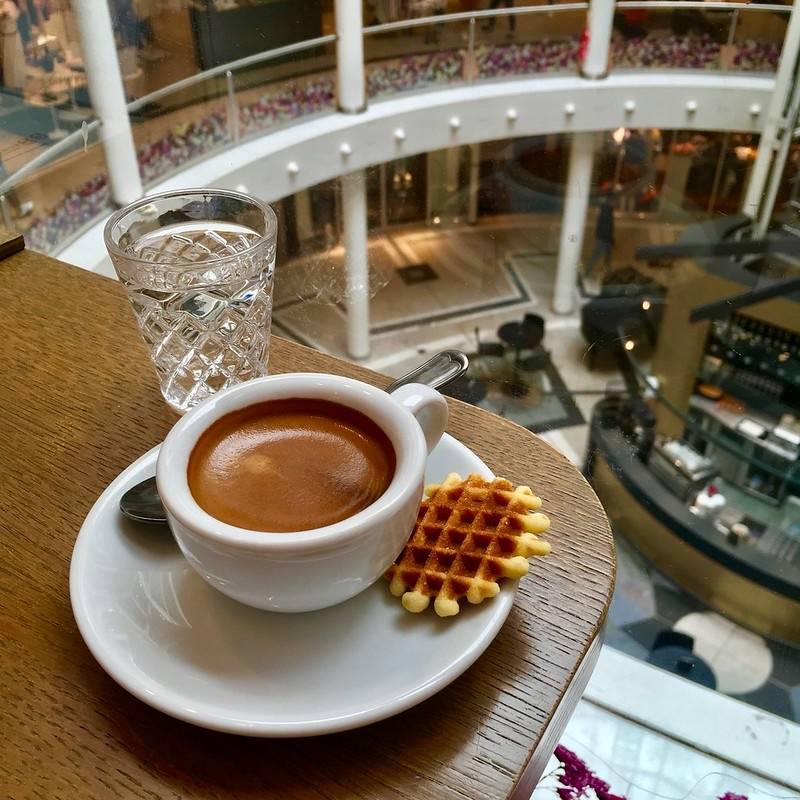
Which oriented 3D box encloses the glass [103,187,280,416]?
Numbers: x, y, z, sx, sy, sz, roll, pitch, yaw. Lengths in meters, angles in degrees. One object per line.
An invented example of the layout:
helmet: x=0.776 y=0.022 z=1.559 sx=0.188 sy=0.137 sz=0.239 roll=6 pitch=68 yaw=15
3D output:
glass: x=-0.099 y=-0.046 z=0.344 sx=0.079 sy=0.078 sz=0.069 roll=-11 pitch=30 yaw=-16

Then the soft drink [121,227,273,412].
soft drink: x=-0.092 y=-0.040 z=0.321 sx=0.061 sy=0.063 sz=0.061 roll=-28 pitch=57 yaw=-29

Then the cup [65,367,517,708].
cup: x=-0.038 y=0.035 z=0.232 sx=0.155 sy=0.060 sz=0.136 roll=3 pitch=33 yaw=3

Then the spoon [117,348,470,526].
spoon: x=-0.041 y=0.014 z=0.258 sx=0.120 sy=0.015 sz=0.021 roll=-30 pitch=52 yaw=-19
